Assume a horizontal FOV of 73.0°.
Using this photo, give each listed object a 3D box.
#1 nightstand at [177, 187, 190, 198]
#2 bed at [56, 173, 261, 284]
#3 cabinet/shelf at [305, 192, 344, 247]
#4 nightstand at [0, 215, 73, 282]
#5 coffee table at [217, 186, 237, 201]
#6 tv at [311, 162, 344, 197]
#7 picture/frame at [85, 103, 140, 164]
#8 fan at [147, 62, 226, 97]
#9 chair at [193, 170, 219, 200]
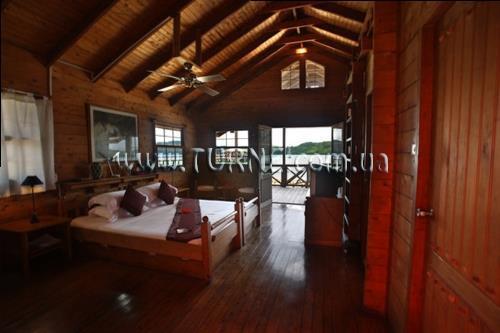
[{"bbox_3d":[-1.573,0.635,7.985,0.218,0.298,0.325,3,3,19],"label":"nightstand"},{"bbox_3d":[-1.450,1.003,5.306,2.107,0.847,1.617,2,8,17],"label":"bed"},{"bbox_3d":[1.308,0.928,6.103,0.719,0.882,0.920,2,1,15],"label":"cabinet/shelf"},{"bbox_3d":[-3.043,1.129,5.037,0.811,0.754,0.819,1,3,18],"label":"nightstand"},{"bbox_3d":[-0.619,0.717,8.991,0.416,0.441,0.423,2,3,35],"label":"coffee table"},{"bbox_3d":[1.335,0.288,6.096,0.734,0.577,0.662,3,-7,-19],"label":"tv"},{"bbox_3d":[-2.580,-0.610,6.289,0.046,0.887,1.197,2,4,21],"label":"picture/frame"},{"bbox_3d":[-1.013,-1.549,5.675,1.247,0.422,1.140,-14,24,-42],"label":"fan"},{"bbox_3d":[-1.159,0.491,8.790,0.583,0.785,0.506,1,-1,-17],"label":"chair"}]
